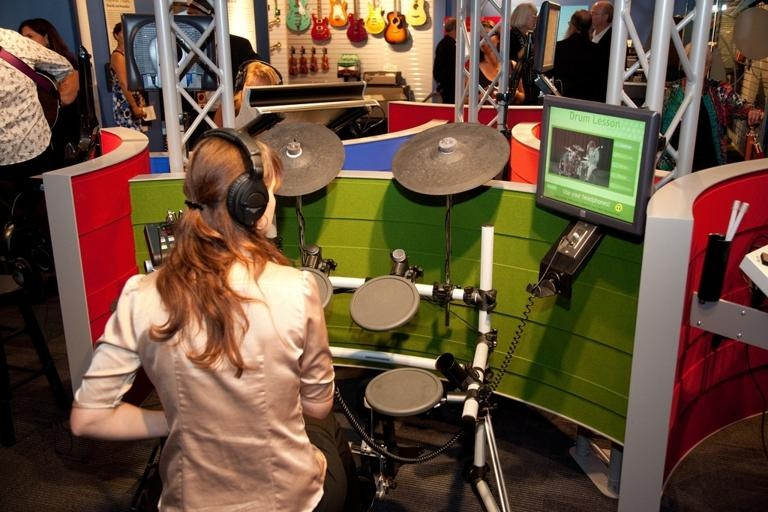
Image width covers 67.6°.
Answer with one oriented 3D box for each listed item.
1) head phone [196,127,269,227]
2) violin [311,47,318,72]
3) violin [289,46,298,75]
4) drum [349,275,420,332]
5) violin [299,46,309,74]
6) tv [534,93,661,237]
[{"bbox_3d":[-0.495,-0.244,1.828,0.095,0.236,0.240,-17,26,-35],"label":"head phone"},{"bbox_3d":[-1.278,-3.497,10.245,0.116,0.426,0.174,7,25,15],"label":"violin"},{"bbox_3d":[-1.667,-3.473,10.274,0.184,0.483,0.237,-6,25,-14],"label":"violin"},{"bbox_3d":[-0.003,0.228,2.792,0.328,0.130,0.356,0,26,0],"label":"drum"},{"bbox_3d":[-1.465,-3.477,10.237,0.158,0.453,0.175,8,25,17],"label":"violin"},{"bbox_3d":[0.961,-0.389,2.596,0.091,0.538,0.565,-5,25,-39],"label":"tv"}]
